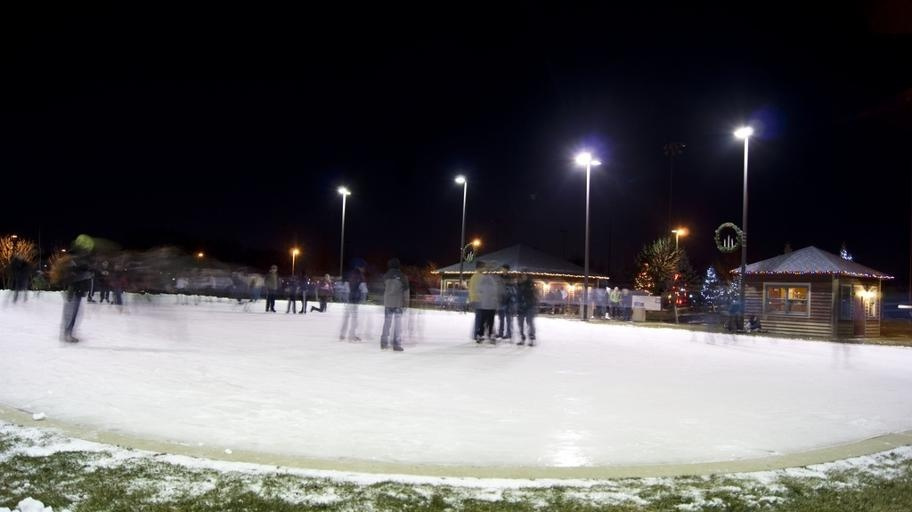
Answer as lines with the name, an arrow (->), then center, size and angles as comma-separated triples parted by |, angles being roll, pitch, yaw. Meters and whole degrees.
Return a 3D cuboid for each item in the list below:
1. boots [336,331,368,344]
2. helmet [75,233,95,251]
boots -> -3.262, 2.587, 19.267 | 0.858, 0.319, 0.299 | -1, -2, 4
helmet -> -9.653, -0.317, 16.138 | 0.433, 0.401, 0.465 | 8, -9, -41
